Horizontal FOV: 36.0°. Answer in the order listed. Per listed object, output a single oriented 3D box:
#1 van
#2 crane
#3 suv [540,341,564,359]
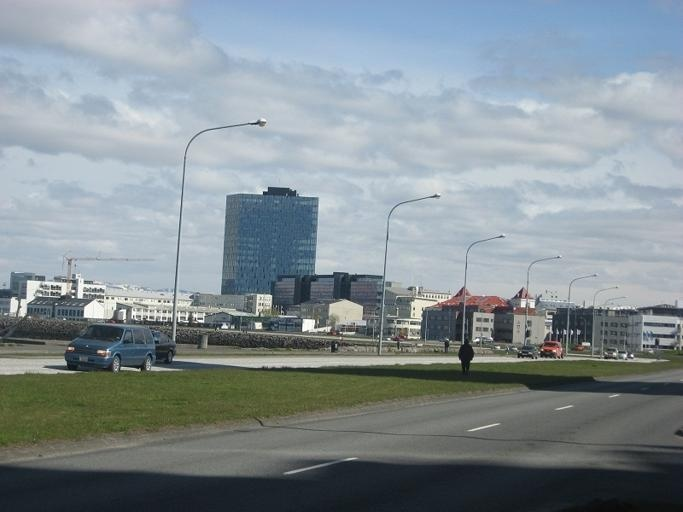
[{"bbox_3d":[-9.212,3.647,42.394,1.683,1.794,3.265,2,-5,29],"label":"van"},{"bbox_3d":[-65.555,8.786,281.382,13.644,10.660,18.710,1,-7,-13],"label":"crane"},{"bbox_3d":[20.609,9.087,102.552,1.497,1.125,2.400,-3,-17,17],"label":"suv"}]
